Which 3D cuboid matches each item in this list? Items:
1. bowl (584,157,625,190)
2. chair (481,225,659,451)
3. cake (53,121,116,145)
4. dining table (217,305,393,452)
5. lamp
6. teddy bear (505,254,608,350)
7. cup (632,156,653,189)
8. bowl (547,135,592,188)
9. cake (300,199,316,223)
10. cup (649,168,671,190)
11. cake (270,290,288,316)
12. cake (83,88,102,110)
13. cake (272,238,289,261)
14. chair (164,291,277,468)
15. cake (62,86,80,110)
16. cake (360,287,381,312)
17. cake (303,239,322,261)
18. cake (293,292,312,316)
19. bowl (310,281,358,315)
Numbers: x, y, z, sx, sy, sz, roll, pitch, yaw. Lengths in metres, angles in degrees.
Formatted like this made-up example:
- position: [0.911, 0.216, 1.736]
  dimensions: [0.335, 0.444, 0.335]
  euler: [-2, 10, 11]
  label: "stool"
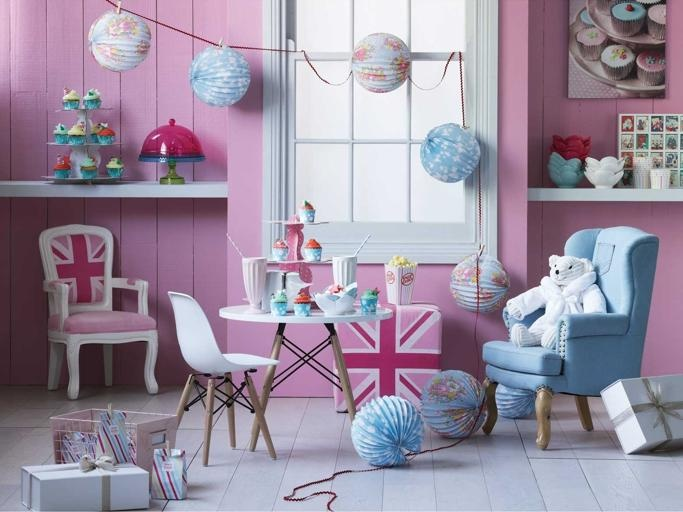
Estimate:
- position: [1.865, -0.598, 4.910]
  dimensions: [0.228, 0.183, 0.229]
  euler: [-1, -2, 0]
  label: "bowl"
- position: [1.401, 0.446, 4.196]
  dimensions: [0.995, 1.268, 1.055]
  euler: [0, 1, 24]
  label: "chair"
- position: [-1.873, -0.886, 5.002]
  dimensions: [0.320, 0.140, 0.212]
  euler: [-2, 4, -9]
  label: "cake"
- position: [-0.215, 0.711, 4.046]
  dimensions: [0.985, 0.770, 1.000]
  euler: [3, -3, -32]
  label: "dining table"
- position: [-1.253, -0.769, 5.079]
  dimensions: [0.465, 0.481, 0.329]
  euler: [-1, 5, -11]
  label: "lamp"
- position: [1.315, 0.277, 4.159]
  dimensions: [0.579, 0.506, 0.689]
  euler: [1, 11, 40]
  label: "teddy bear"
- position: [2.175, -0.604, 4.970]
  dimensions: [0.128, 0.229, 0.157]
  euler: [1, 5, 17]
  label: "cup"
- position: [1.607, -0.662, 5.092]
  dimensions: [0.335, 0.465, 0.348]
  euler: [1, -5, 0]
  label: "bowl"
- position: [-0.186, -0.261, 3.965]
  dimensions: [0.118, 0.156, 0.113]
  euler: [-2, 3, -34]
  label: "cake"
- position: [2.273, -0.550, 4.917]
  dimensions: [0.127, 0.140, 0.094]
  euler: [1, 5, 17]
  label: "cup"
- position: [-0.331, 0.248, 3.648]
  dimensions: [0.103, 0.167, 0.108]
  euler: [-1, 3, -19]
  label: "cake"
- position: [-1.809, -1.142, 5.030]
  dimensions: [0.134, 0.146, 0.143]
  euler: [1, -5, -11]
  label: "cake"
- position: [-0.346, -0.031, 3.881]
  dimensions: [0.095, 0.124, 0.103]
  euler: [1, -4, -7]
  label: "cake"
- position: [-0.697, 0.603, 4.011]
  dimensions: [0.578, 0.924, 1.194]
  euler: [-1, 5, -10]
  label: "chair"
- position: [-1.985, -1.155, 5.036]
  dimensions: [0.099, 0.146, 0.160]
  euler: [-3, 6, -34]
  label: "cake"
- position: [0.149, 0.240, 3.763]
  dimensions: [0.082, 0.124, 0.146]
  euler: [0, 5, 7]
  label: "cake"
- position: [-0.157, -0.037, 3.953]
  dimensions: [0.112, 0.123, 0.111]
  euler: [0, -1, -38]
  label: "cake"
- position: [-0.208, 0.252, 3.629]
  dimensions: [0.082, 0.116, 0.094]
  euler: [-1, 5, -11]
  label: "cake"
- position: [-0.025, 0.224, 3.684]
  dimensions: [0.170, 0.117, 0.160]
  euler: [-2, -3, 0]
  label: "bowl"
